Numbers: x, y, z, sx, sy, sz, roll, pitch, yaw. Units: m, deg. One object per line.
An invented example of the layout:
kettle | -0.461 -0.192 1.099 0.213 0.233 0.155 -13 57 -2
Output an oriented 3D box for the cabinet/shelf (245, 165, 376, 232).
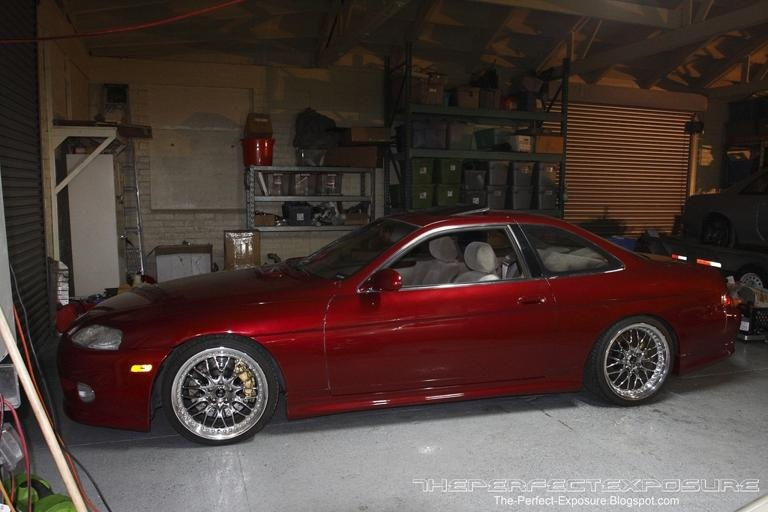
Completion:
cabinet/shelf | -1.430 -1.133 10.222 2.394 1.011 0.799 -2 6 -18

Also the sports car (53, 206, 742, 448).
sports car | 0.293 0.686 5.401 6.236 1.537 2.438 0 2 -11

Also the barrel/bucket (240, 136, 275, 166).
barrel/bucket | -2.394 -1.968 9.946 0.631 0.380 0.593 -1 0 0

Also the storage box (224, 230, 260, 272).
storage box | -2.490 -0.067 9.540 0.741 0.784 0.525 -5 -7 3
